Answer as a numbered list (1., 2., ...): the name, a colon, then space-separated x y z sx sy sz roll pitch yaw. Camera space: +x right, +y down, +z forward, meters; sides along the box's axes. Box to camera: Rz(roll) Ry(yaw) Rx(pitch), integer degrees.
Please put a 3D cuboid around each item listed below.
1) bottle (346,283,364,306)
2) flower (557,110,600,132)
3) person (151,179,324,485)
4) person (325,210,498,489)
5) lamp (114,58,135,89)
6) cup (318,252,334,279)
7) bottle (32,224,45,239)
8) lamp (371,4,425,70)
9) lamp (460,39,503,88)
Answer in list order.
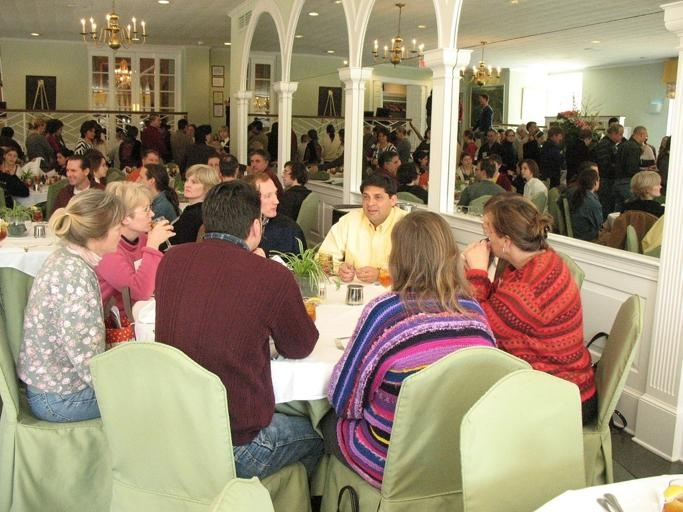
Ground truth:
1. bottle: 0.071 0.199 2.588 0.091 0.096 0.091 -9 16 -41
2. flower: 1.726 -0.980 3.646 0.167 0.104 0.172 25 -12 -33
3. person: -0.341 0.363 1.836 0.608 1.242 0.308 -6 12 -24
4. person: 0.237 0.324 1.744 0.547 0.921 0.295 -2 11 -8
5. lamp: -5.739 -4.889 13.376 0.463 0.902 0.492 6 28 3
6. cup: -0.081 0.053 2.844 0.039 0.122 0.087 -17 29 -28
7. bottle: -2.472 -0.202 4.149 0.095 0.112 0.101 1 -1 10
8. lamp: 0.606 -2.481 5.735 0.471 0.542 1.095 -2 12 -7
9. lamp: 1.197 -1.645 4.299 0.348 0.400 0.303 14 17 36
